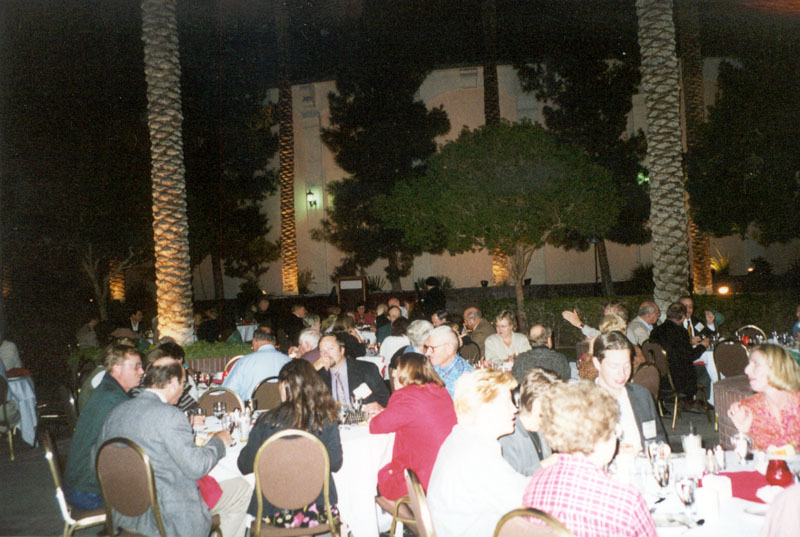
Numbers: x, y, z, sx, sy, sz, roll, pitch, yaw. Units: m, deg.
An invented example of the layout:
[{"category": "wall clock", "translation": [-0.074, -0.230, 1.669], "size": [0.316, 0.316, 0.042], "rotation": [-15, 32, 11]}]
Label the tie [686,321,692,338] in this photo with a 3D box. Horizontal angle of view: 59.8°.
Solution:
[{"category": "tie", "translation": [6.068, 1.260, 14.524], "size": [0.170, 0.302, 0.068], "rotation": [-9, 11, -15]}]

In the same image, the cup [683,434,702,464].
[{"category": "cup", "translation": [3.562, 2.140, 8.408], "size": [0.236, 0.306, 0.275], "rotation": [-1, -5, 23]}]

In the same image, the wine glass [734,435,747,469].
[{"category": "wine glass", "translation": [4.250, 2.229, 8.578], "size": [0.170, 0.372, 0.234], "rotation": [-2, -5, 29]}]

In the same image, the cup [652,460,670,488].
[{"category": "cup", "translation": [3.101, 2.375, 8.143], "size": [0.237, 0.311, 0.179], "rotation": [1, -4, 0]}]
